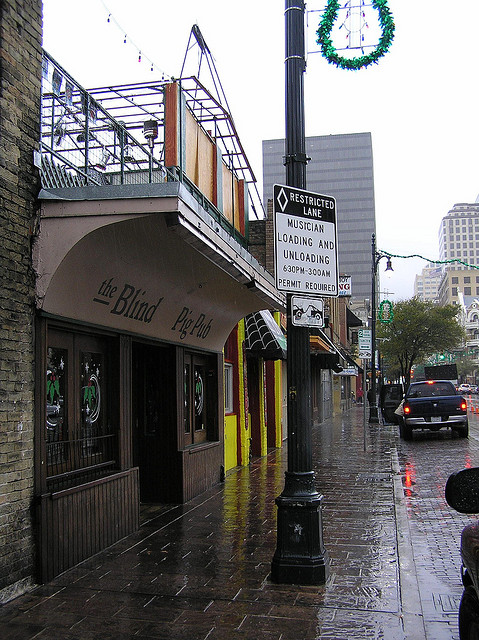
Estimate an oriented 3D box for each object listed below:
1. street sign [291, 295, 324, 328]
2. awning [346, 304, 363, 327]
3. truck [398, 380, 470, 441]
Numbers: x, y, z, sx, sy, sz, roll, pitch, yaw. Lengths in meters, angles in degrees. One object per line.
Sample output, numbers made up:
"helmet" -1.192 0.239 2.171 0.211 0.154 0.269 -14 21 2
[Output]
"street sign" 0.610 -0.074 5.396 0.457 0.277 0.105 5 -8 -44
"awning" 8.287 -0.404 45.506 0.933 1.836 3.519 -3 -7 11
"truck" 5.904 2.764 18.931 1.133 1.278 2.413 -1 -5 7
